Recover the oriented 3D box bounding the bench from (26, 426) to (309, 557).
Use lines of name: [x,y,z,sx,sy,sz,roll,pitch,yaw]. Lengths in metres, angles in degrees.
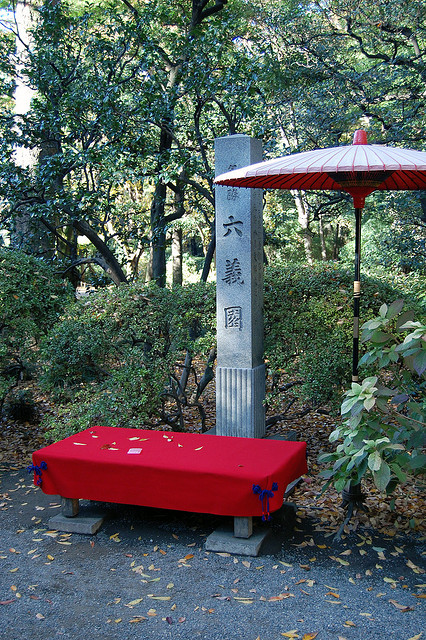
bench: [-0.324,1.169,3.751,1.747,0.568,0.711,-1,4,22]
